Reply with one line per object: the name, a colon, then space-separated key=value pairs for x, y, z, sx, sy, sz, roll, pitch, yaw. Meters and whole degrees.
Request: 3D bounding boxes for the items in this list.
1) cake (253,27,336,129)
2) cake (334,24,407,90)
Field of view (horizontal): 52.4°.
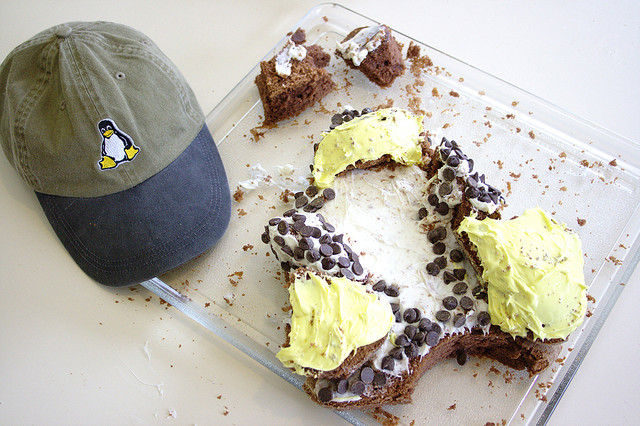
cake: x=-0.229 y=-1.124 z=5.468 sx=0.581 sy=0.309 sz=0.798 roll=-36 pitch=71 yaw=-15
cake: x=0.422 y=-1.468 z=5.749 sx=0.474 sy=0.253 sz=0.650 roll=-23 pitch=32 yaw=-1
